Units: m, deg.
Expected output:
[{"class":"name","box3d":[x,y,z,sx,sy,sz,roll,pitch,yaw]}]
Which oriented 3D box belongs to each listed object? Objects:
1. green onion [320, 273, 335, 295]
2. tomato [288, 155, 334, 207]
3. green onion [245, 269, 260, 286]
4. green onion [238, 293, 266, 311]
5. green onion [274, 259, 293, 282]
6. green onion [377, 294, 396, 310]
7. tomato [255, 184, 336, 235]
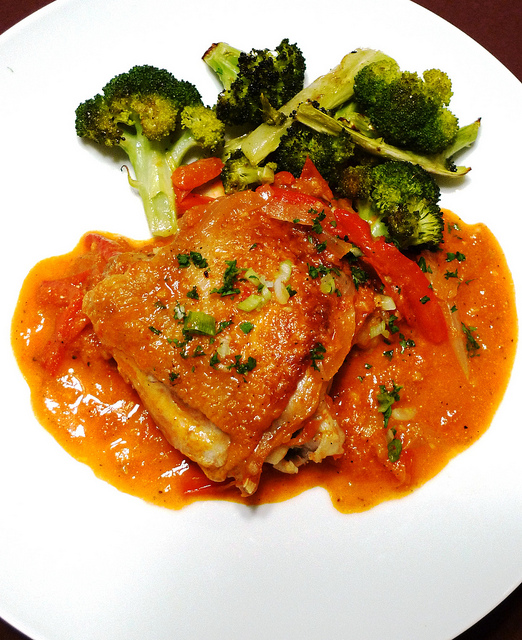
[{"class":"green onion","box3d":[0.437,-0.228,4.445,0.119,0.036,0.116,4,80,-24]},{"class":"tomato","box3d":[0.370,-0.925,4.666,0.358,0.127,0.295,3,87,-4]},{"class":"green onion","box3d":[-0.050,-0.259,4.318,0.076,0.029,0.109,-30,74,-32]},{"class":"green onion","box3d":[-0.049,-0.098,4.246,0.130,0.043,0.126,23,63,11]},{"class":"green onion","box3d":[0.155,-0.311,4.353,0.102,0.032,0.125,17,69,-5]},{"class":"green onion","box3d":[0.889,-0.114,4.793,0.112,0.040,0.105,0,72,-20]},{"class":"tomato","box3d":[0.236,-0.723,4.580,0.513,0.101,0.249,14,54,-12]}]
